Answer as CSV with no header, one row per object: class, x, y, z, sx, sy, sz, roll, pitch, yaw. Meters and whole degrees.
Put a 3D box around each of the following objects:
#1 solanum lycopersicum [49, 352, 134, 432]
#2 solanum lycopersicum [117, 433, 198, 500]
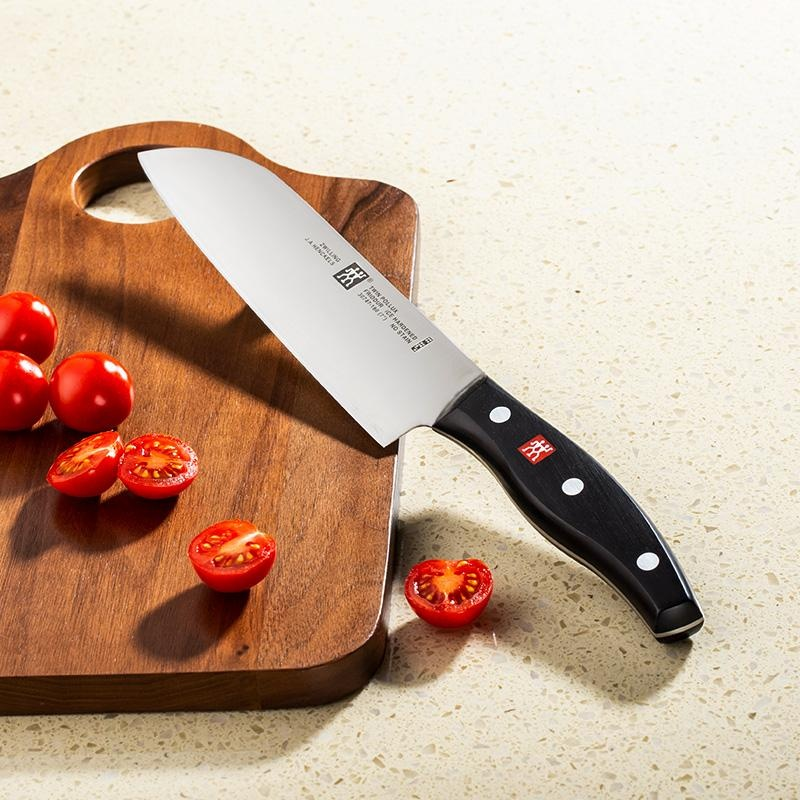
solanum lycopersicum,-0.281,-0.008,0.816,0.093,0.074,0.061,4,80,-23
solanum lycopersicum,-0.205,0.054,0.756,0.072,0.024,0.055,5,43,-8
